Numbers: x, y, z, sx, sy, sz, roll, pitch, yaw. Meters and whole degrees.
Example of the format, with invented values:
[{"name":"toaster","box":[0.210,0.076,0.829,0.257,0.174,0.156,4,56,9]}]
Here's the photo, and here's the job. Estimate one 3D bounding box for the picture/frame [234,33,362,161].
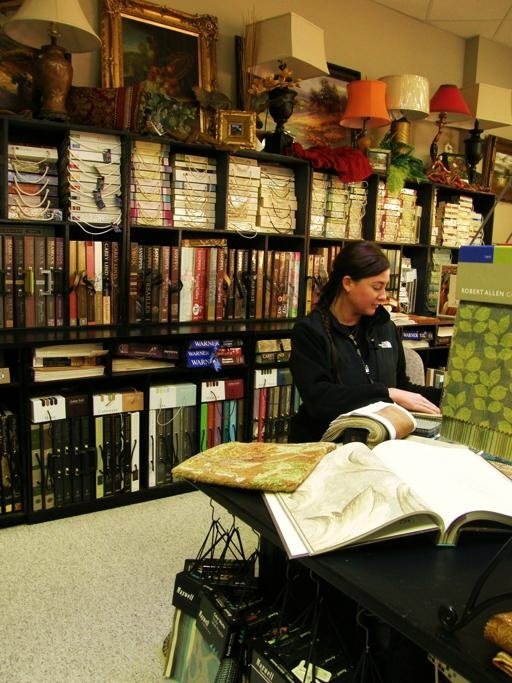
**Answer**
[{"name":"picture/frame","box":[0.321,-1.500,3.545,0.686,0.990,0.656,5,14,21]}]
